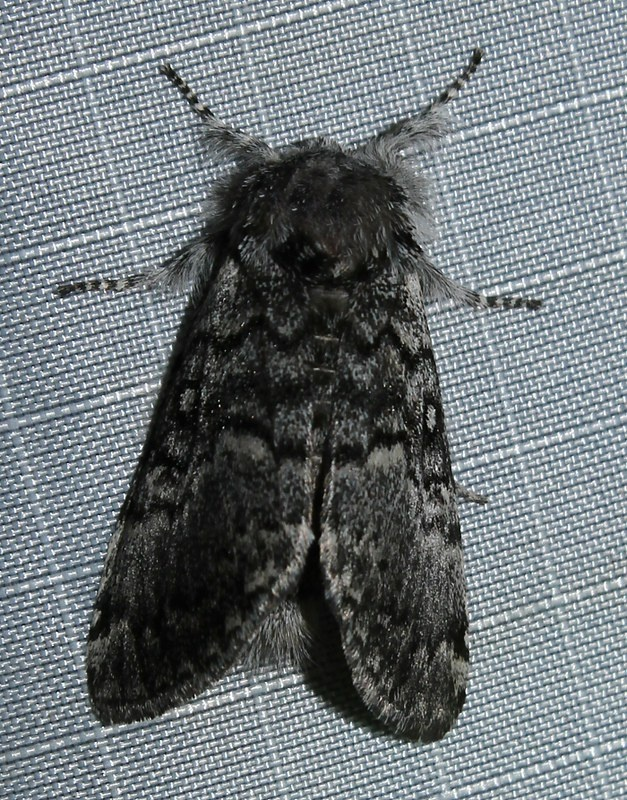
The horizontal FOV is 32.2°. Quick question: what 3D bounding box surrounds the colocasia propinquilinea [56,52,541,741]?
[{"bbox_3d":[-0.022,0.029,1.893,0.752,0.300,0.980,1,81,1],"label":"colocasia propinquilinea"}]
